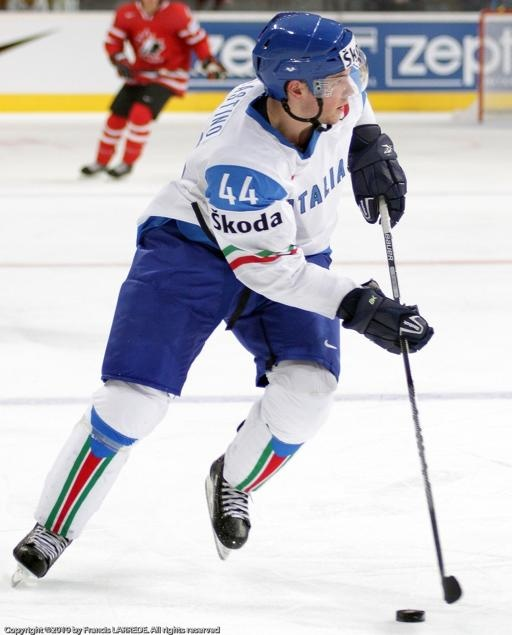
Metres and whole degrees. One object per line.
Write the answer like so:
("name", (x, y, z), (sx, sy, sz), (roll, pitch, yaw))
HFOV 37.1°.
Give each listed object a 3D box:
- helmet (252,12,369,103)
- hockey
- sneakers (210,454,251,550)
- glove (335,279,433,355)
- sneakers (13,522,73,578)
("helmet", (0.091, -0.506, 1.485), (0.242, 0.172, 0.154), (-5, 24, 2))
("hockey", (0.299, 0.097, 1.501), (0.091, 0.024, 0.882), (-5, 73, -3))
("sneakers", (-0.073, 0.391, 1.583), (0.066, 0.081, 0.178), (14, 43, -34))
("glove", (0.230, 0.017, 1.474), (0.175, 0.074, 0.118), (31, 46, -1))
("sneakers", (-0.401, 0.433, 1.420), (0.081, 0.043, 0.118), (37, 50, 13))
